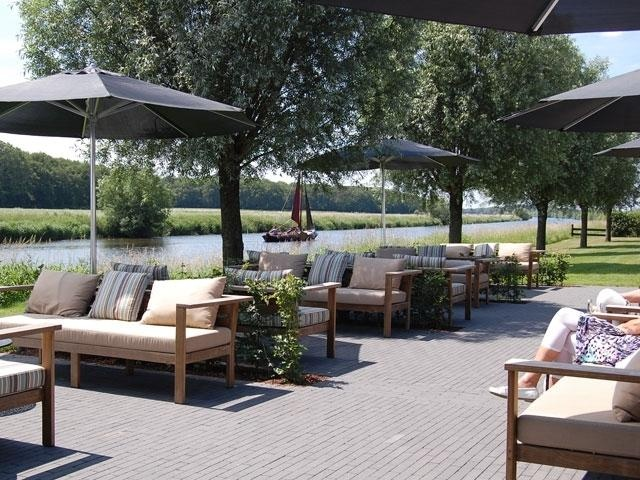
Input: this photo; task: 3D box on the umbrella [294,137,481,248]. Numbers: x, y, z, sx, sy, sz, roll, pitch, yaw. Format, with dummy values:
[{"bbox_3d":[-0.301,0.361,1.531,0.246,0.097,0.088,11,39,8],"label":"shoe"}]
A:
[{"bbox_3d":[1.489,-1.136,12.589,3.681,2.440,2.078,-3,6,-45],"label":"umbrella"}]
